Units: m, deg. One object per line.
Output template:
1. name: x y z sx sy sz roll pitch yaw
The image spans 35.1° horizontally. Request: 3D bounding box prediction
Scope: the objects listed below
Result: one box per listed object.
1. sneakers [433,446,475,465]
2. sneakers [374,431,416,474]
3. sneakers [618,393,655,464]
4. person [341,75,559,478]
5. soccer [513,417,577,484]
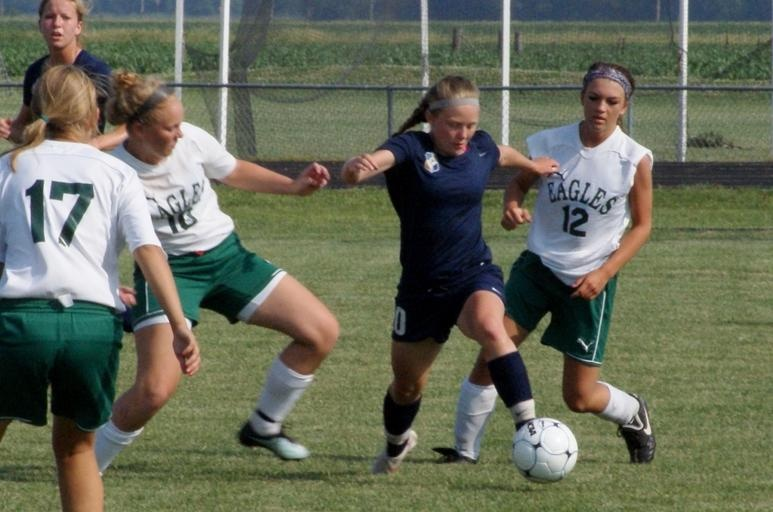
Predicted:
1. sneakers: 0.541 1.620 9.909 0.384 0.160 0.124 -7 -8 13
2. sneakers: 0.049 1.633 9.885 0.185 0.467 0.144 35 1 21
3. sneakers: 2.004 1.386 9.890 0.254 0.553 0.186 -10 -3 -28
4. person: 0.430 0.178 9.649 1.371 3.163 0.728 5 10 15
5. soccer: 1.178 1.501 9.411 0.497 0.473 0.488 17 -17 -28
